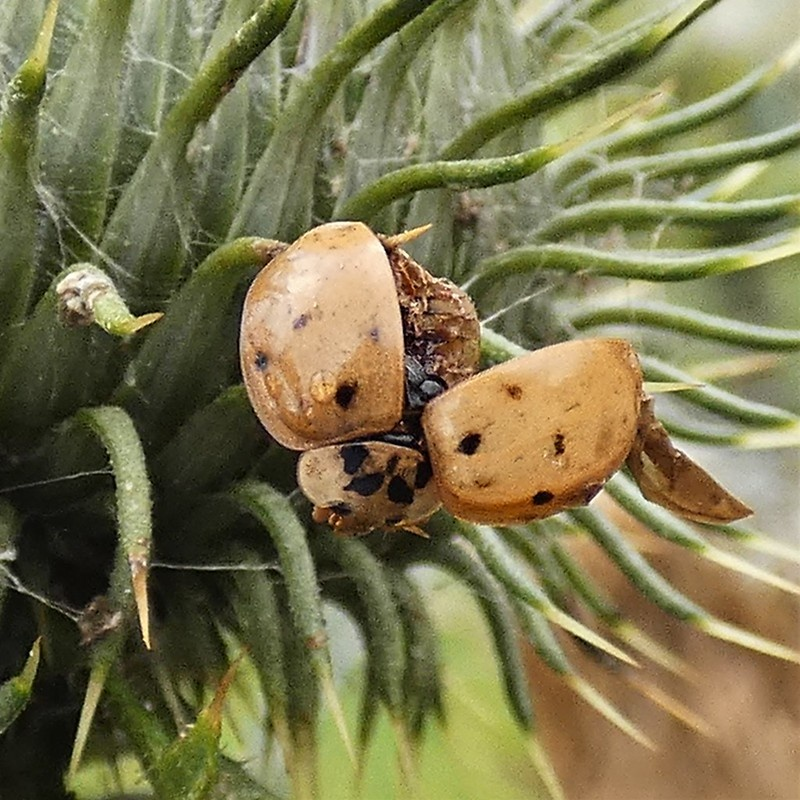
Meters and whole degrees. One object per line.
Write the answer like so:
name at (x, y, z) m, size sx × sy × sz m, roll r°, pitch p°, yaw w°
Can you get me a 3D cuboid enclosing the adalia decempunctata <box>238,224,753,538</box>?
adalia decempunctata at (0.015, 0.000, 0.720) m, size 0.214 × 0.139 × 0.091 m, roll 17°, pitch 6°, yaw 6°
